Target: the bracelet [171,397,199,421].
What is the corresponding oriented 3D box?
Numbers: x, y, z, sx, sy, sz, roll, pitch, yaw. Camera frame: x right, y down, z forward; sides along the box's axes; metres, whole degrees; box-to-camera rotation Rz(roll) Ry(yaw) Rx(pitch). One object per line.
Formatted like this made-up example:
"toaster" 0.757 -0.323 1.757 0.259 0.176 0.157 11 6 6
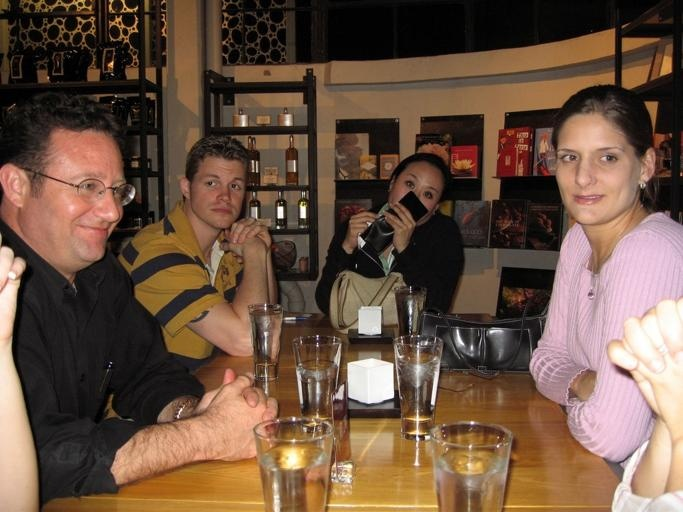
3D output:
"bracelet" -0.482 0.465 1.717 0.069 0.075 0.015 -6 -36 21
